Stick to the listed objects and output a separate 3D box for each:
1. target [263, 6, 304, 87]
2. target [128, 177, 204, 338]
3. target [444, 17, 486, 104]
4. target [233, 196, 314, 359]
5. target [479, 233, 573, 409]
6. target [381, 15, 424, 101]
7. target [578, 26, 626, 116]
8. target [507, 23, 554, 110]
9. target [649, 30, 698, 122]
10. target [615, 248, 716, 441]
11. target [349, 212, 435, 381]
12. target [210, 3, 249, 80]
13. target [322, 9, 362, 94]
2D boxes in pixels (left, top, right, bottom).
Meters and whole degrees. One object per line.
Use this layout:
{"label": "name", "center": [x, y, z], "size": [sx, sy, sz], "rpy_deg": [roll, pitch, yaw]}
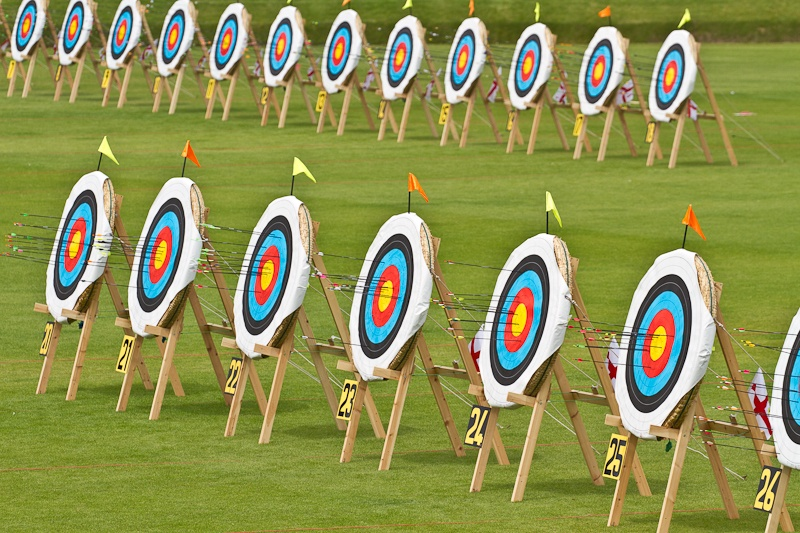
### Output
{"label": "target", "center": [-2.658, -4.985, 35.188], "size": [0.789, 1.842, 1.700], "rpy_deg": [-1, 10, -17]}
{"label": "target", "center": [-3.239, -0.119, 21.106], "size": [0.865, 2.132, 1.345], "rpy_deg": [-4, 11, -33]}
{"label": "target", "center": [1.437, -4.451, 33.630], "size": [0.795, 1.871, 1.609], "rpy_deg": [1, 9, -4]}
{"label": "target", "center": [-1.745, 0.146, 20.512], "size": [0.807, 2.137, 1.248], "rpy_deg": [-4, 11, -30]}
{"label": "target", "center": [1.530, 0.693, 19.272], "size": [0.852, 2.154, 1.321], "rpy_deg": [-4, 11, -33]}
{"label": "target", "center": [0.022, -4.506, 33.652], "size": [0.783, 1.844, 1.682], "rpy_deg": [-1, 10, -18]}
{"label": "target", "center": [4.223, -4.071, 32.344], "size": [0.891, 1.858, 1.634], "rpy_deg": [2, 9, -2]}
{"label": "target", "center": [2.809, -4.255, 33.070], "size": [0.775, 1.819, 1.722], "rpy_deg": [0, 9, -9]}
{"label": "target", "center": [5.454, -3.809, 31.101], "size": [0.575, 1.850, 1.453], "rpy_deg": [0, 10, -13]}
{"label": "target", "center": [3.261, 0.975, 18.767], "size": [0.413, 2.309, 2.367], "rpy_deg": [13, 6, -14]}
{"label": "target", "center": [-0.139, 0.409, 19.921], "size": [0.782, 2.083, 1.301], "rpy_deg": [-4, 11, -32]}
{"label": "target", "center": [-3.966, -5.220, 35.873], "size": [0.126, 1.581, 1.585], "rpy_deg": [12, 37, -34]}
{"label": "target", "center": [-1.285, -4.757, 34.310], "size": [0.794, 1.862, 1.793], "rpy_deg": [0, 10, -13]}
